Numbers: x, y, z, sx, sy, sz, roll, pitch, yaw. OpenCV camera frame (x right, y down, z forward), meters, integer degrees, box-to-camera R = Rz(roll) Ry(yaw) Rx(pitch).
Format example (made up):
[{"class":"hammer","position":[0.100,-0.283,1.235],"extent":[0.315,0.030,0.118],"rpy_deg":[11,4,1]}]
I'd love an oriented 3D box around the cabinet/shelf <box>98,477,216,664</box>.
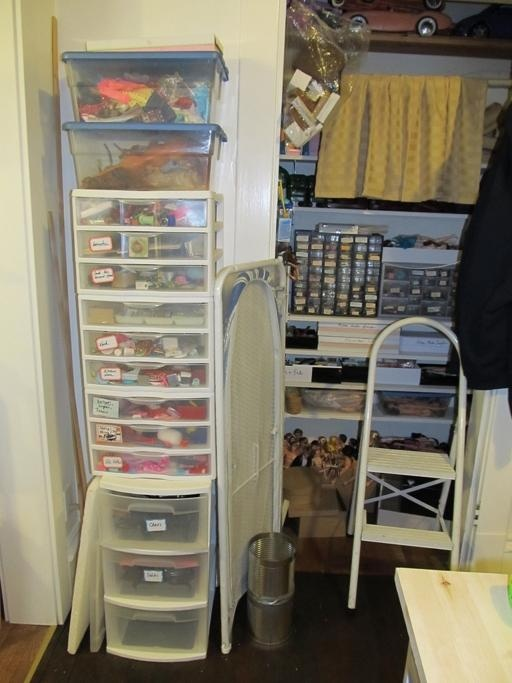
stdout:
[{"class":"cabinet/shelf","position":[-0.303,0.725,1.994],"extent":[0.370,0.523,0.547],"rpy_deg":[0,-3,0]}]

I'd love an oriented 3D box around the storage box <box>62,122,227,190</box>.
[{"class":"storage box","position":[-0.322,-0.523,1.612],"extent":[0.319,0.116,0.232],"rpy_deg":[0,9,-4]}]

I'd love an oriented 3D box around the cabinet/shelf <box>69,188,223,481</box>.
[{"class":"cabinet/shelf","position":[-0.291,-0.025,1.829],"extent":[0.454,0.881,0.322],"rpy_deg":[2,9,16]}]

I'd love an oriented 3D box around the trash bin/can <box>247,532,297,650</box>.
[{"class":"trash bin/can","position":[0.050,0.833,1.953],"extent":[0.162,0.291,0.272],"rpy_deg":[0,17,3]}]

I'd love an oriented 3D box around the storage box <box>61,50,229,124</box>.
[{"class":"storage box","position":[-0.283,-0.741,1.740],"extent":[0.524,0.183,0.365],"rpy_deg":[10,14,21]}]

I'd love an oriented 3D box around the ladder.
[{"class":"ladder","position":[0.591,0.429,2.214],"extent":[0.444,1.102,0.796],"rpy_deg":[5,18,18]}]
